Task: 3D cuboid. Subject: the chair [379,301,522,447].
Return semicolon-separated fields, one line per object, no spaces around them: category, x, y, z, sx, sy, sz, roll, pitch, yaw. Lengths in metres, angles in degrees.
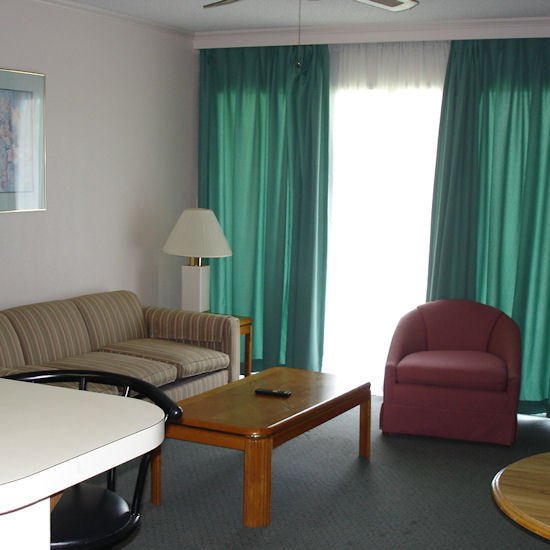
chair;1.351;0.840;4.040;0.953;1.139;0.951;2;4;19

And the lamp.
lamp;-0.608;-0.144;4.842;0.723;1.348;0.787;1;3;5
